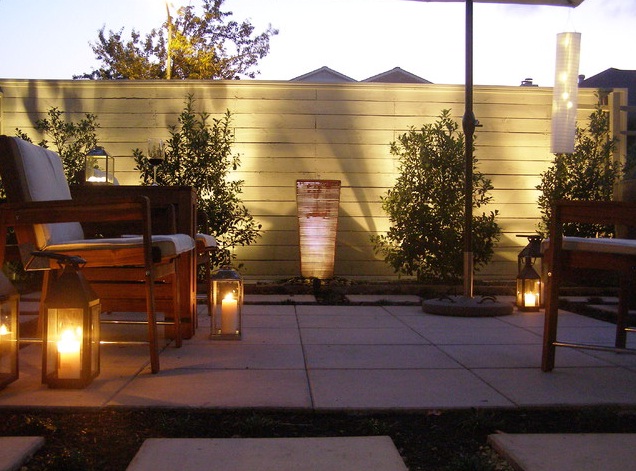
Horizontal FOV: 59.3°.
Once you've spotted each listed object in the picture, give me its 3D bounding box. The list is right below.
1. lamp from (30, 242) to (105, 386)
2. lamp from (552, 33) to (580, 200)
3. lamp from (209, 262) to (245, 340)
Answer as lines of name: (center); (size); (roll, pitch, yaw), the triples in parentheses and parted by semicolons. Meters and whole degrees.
lamp: (-1.066, 0.353, 2.386); (0.252, 0.564, 0.212); (-2, 10, -8)
lamp: (1.727, -0.987, 3.907); (0.160, 0.820, 0.243); (4, 11, 25)
lamp: (-0.536, 0.387, 3.273); (0.193, 0.401, 0.234); (-3, 10, -11)
